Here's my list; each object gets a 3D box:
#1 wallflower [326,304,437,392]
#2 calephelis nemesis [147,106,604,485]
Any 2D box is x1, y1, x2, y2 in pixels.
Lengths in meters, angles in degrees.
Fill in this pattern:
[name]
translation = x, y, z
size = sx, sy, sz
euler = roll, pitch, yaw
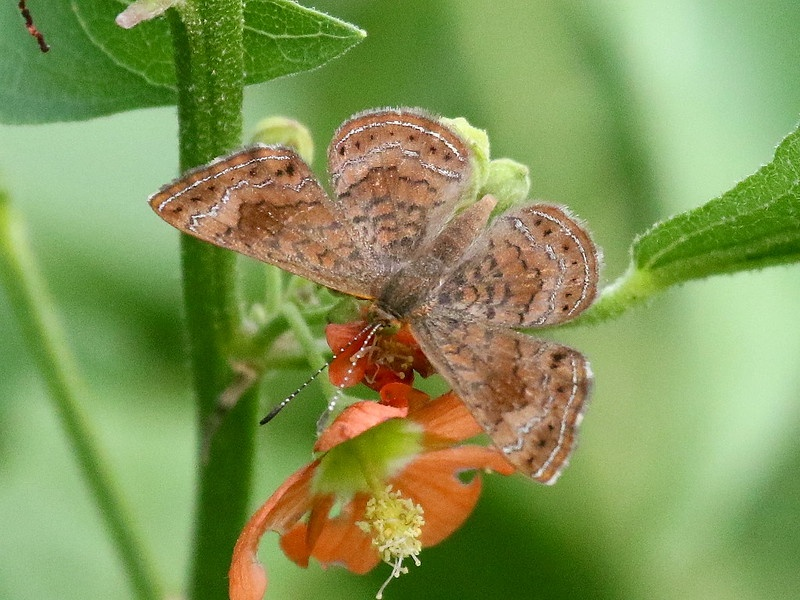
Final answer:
[wallflower]
translation = -0.054, 0.137, 2.075
size = 0.223, 0.223, 0.060
euler = 45, -37, 7
[calephelis nemesis]
translation = -0.021, -0.019, 2.009
size = 0.950, 0.881, 0.311
euler = 6, -25, -14
